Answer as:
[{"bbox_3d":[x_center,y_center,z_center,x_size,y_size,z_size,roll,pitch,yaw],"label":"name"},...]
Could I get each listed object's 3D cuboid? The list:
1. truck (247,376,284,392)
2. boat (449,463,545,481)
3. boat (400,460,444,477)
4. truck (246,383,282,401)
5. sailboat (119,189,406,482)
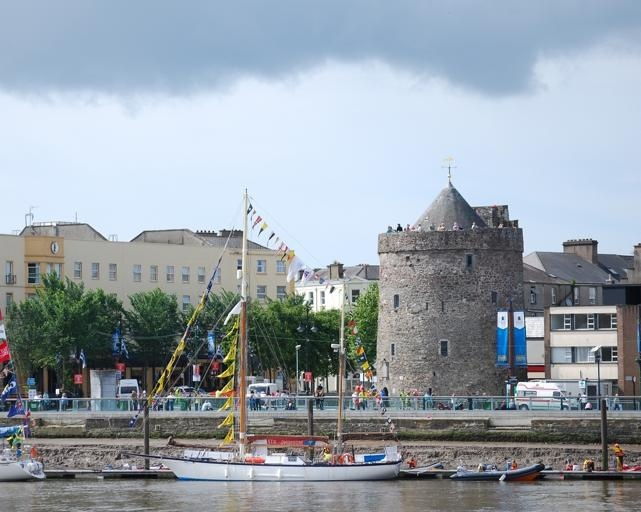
[{"bbox_3d":[-4.281,9.264,144.294,2.540,1.426,1.107,1,5,-26],"label":"truck"},{"bbox_3d":[10.238,12.504,114.429,5.028,0.989,1.091,-1,-8,5],"label":"boat"},{"bbox_3d":[5.833,12.538,116.036,2.523,0.973,2.868,0,-8,2],"label":"boat"},{"bbox_3d":[-4.303,9.315,136.473,1.206,1.164,2.117,-2,-12,14],"label":"truck"},{"bbox_3d":[-2.598,4.619,115.070,12.651,16.832,6.528,1,-7,-6],"label":"sailboat"}]
